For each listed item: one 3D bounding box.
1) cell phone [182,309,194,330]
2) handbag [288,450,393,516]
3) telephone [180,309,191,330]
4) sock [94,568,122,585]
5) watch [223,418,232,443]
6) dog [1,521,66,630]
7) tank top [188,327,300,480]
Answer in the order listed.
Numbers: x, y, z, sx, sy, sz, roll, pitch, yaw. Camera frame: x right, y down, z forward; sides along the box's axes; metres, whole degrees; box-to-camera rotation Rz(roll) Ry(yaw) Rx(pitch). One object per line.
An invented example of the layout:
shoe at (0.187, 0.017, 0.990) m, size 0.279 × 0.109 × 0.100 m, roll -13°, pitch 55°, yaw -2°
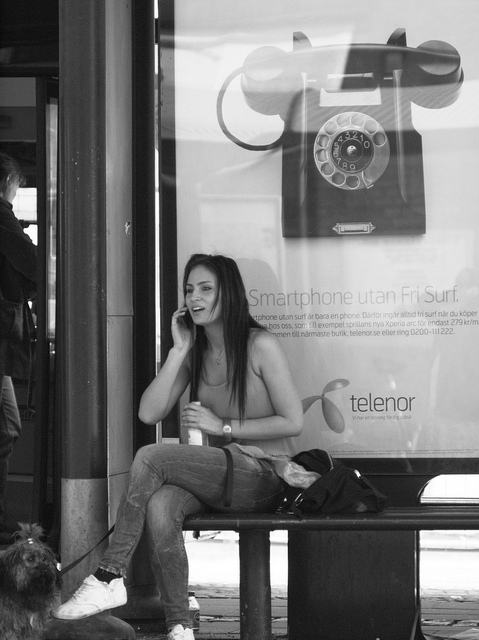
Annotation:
cell phone at (-0.192, 0.001, 3.153) m, size 0.042 × 0.072 × 0.019 m, roll 0°, pitch 4°, yaw -13°
handbag at (0.328, 0.518, 2.746) m, size 0.225 × 0.113 × 0.282 m, roll -17°, pitch -17°, yaw -41°
telephone at (-0.203, -0.002, 3.186) m, size 0.017 × 0.066 × 0.045 m, roll -7°, pitch -10°, yaw 7°
sock at (-0.397, 0.765, 2.551) m, size 0.089 × 0.036 × 0.041 m, roll 14°, pitch 3°, yaw 2°
watch at (-0.043, 0.387, 2.948) m, size 0.036 × 0.070 × 0.070 m, roll 2°, pitch 15°, yaw 0°
dog at (-0.646, 0.808, 2.614) m, size 0.182 × 0.334 × 0.194 m, roll -3°, pitch 6°, yaw -15°
tank top at (0.010, 0.307, 2.962) m, size 0.292 × 0.429 × 0.209 m, roll -29°, pitch -11°, yaw 31°
